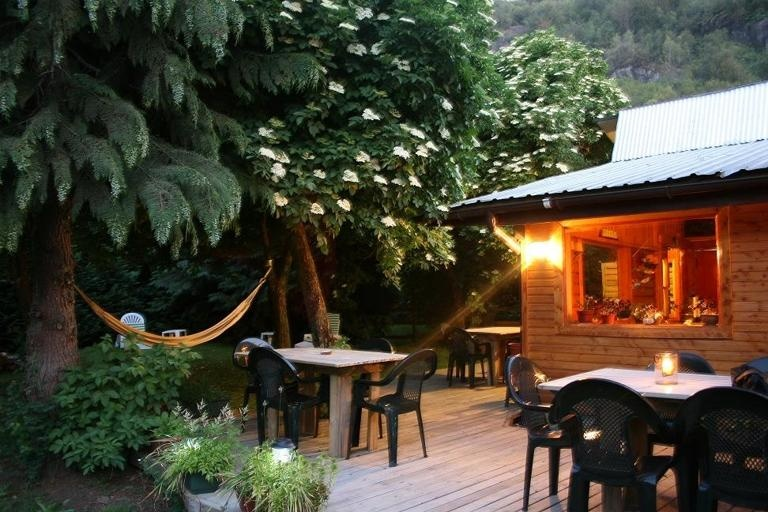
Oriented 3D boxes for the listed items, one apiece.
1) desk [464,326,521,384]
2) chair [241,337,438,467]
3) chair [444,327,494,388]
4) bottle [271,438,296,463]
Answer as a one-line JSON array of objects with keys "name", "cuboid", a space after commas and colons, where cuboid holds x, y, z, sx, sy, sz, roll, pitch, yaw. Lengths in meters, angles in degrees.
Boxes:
[{"name": "desk", "cuboid": [1.991, 1.651, 9.703, 1.014, 0.952, 1.035, -1, 0, 31]}, {"name": "chair", "cuboid": [-0.343, 1.368, 5.991, 1.429, 0.694, 1.406, 0, -1, 33]}, {"name": "chair", "cuboid": [1.424, 1.698, 9.623, 0.676, 0.891, 0.679, -2, -3, 38]}, {"name": "bottle", "cuboid": [-0.738, 1.432, 4.239, 0.162, 0.146, 0.162, 2, 4, 13]}]
